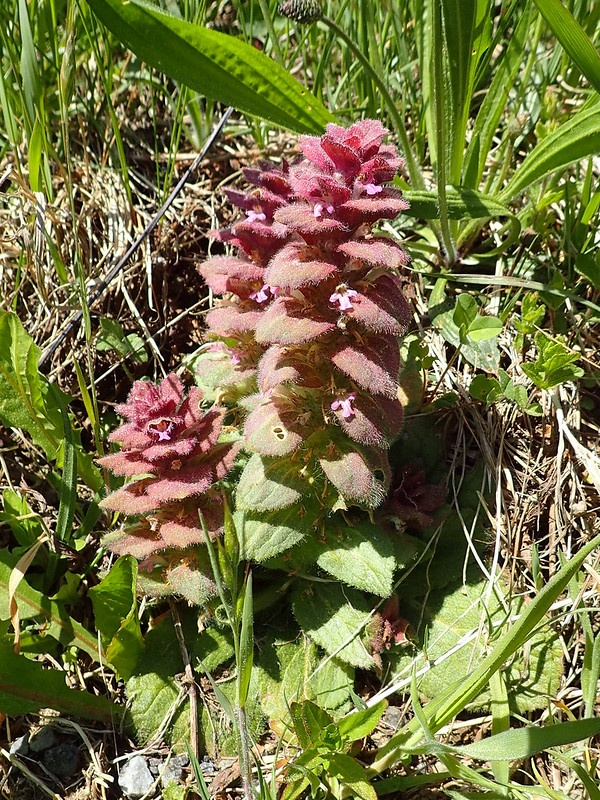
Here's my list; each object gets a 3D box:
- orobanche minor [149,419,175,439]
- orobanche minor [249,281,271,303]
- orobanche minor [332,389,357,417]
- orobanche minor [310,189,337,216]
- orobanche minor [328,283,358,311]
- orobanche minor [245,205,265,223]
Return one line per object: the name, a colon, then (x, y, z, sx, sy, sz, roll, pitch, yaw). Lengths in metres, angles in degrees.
orobanche minor: (-0.325, 0.070, 1.772, 0.047, 0.024, 0.051, 1, 65, -2)
orobanche minor: (-0.096, -0.260, 1.806, 0.048, 0.047, 0.018, 30, 21, -24)
orobanche minor: (0.100, 0.011, 1.712, 0.055, 0.043, 0.062, 3, 43, 1)
orobanche minor: (0.051, -0.410, 1.606, 0.062, 0.026, 0.058, -13, 72, 33)
orobanche minor: (0.095, -0.215, 1.612, 0.057, 0.048, 0.064, 10, 44, 8)
orobanche minor: (-0.109, -0.438, 1.786, 0.044, 0.020, 0.049, -21, 48, -23)
